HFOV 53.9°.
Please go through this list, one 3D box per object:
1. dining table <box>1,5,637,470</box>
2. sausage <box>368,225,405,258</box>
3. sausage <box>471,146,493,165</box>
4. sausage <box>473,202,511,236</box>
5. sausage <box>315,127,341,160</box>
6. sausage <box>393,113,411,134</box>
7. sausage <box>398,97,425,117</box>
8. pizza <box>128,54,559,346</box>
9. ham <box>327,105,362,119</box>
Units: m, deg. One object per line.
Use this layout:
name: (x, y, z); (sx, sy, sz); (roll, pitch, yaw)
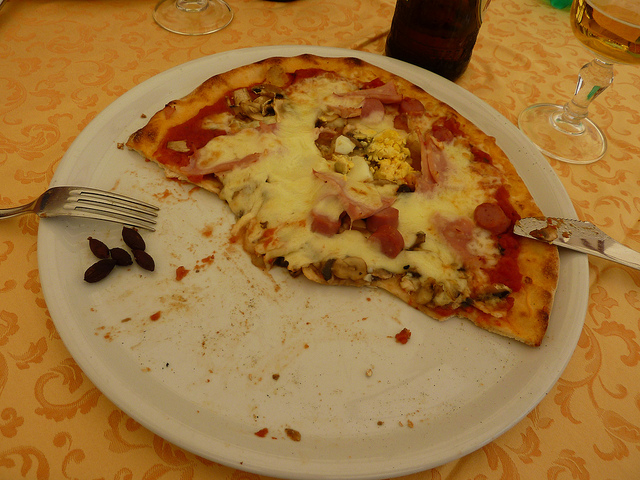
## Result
dining table: (0.024, -0.150, 2.431); (2.516, 0.702, 1.911); (1, 76, -2)
sausage: (0.240, 0.003, 2.214); (0.106, 0.116, 0.034); (47, 39, 0)
sausage: (0.632, -0.327, 2.478); (0.045, 0.023, 0.077); (-46, 74, -1)
sausage: (0.622, -0.064, 2.324); (0.157, 0.053, 0.193); (-1, 45, 14)
sausage: (0.023, -0.383, 2.508); (0.038, 0.156, 0.143); (-21, 43, 6)
sausage: (0.329, -0.464, 2.532); (0.084, 0.020, 0.084); (7, 75, 10)
sausage: (0.373, -0.543, 2.562); (0.076, 0.023, 0.077); (6, 66, -1)
pizza: (0.174, -0.204, 2.475); (1.567, 0.216, 1.008); (24, 57, 7)
ham: (0.106, -0.510, 2.516); (0.103, 0.026, 0.044); (18, 71, 13)
